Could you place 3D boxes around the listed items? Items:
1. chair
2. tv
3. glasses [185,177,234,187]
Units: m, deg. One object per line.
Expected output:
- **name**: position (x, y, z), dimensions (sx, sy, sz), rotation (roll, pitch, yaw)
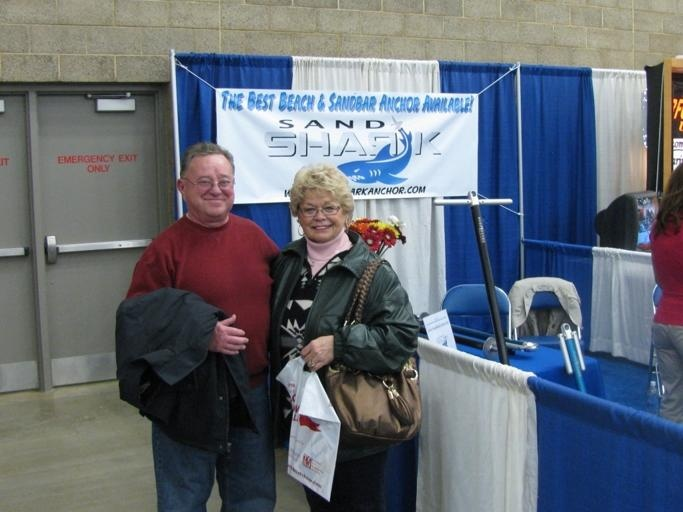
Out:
- **chair**: position (1.403, 0.552, 6.415), dimensions (0.795, 0.869, 0.895), rotation (-1, -4, -4)
- **tv**: position (2.911, -0.476, 8.536), dimensions (0.778, 0.793, 0.567), rotation (-11, 13, -44)
- **glasses**: position (-0.754, -0.424, 4.786), dimensions (0.259, 0.063, 0.075), rotation (-4, 8, -14)
